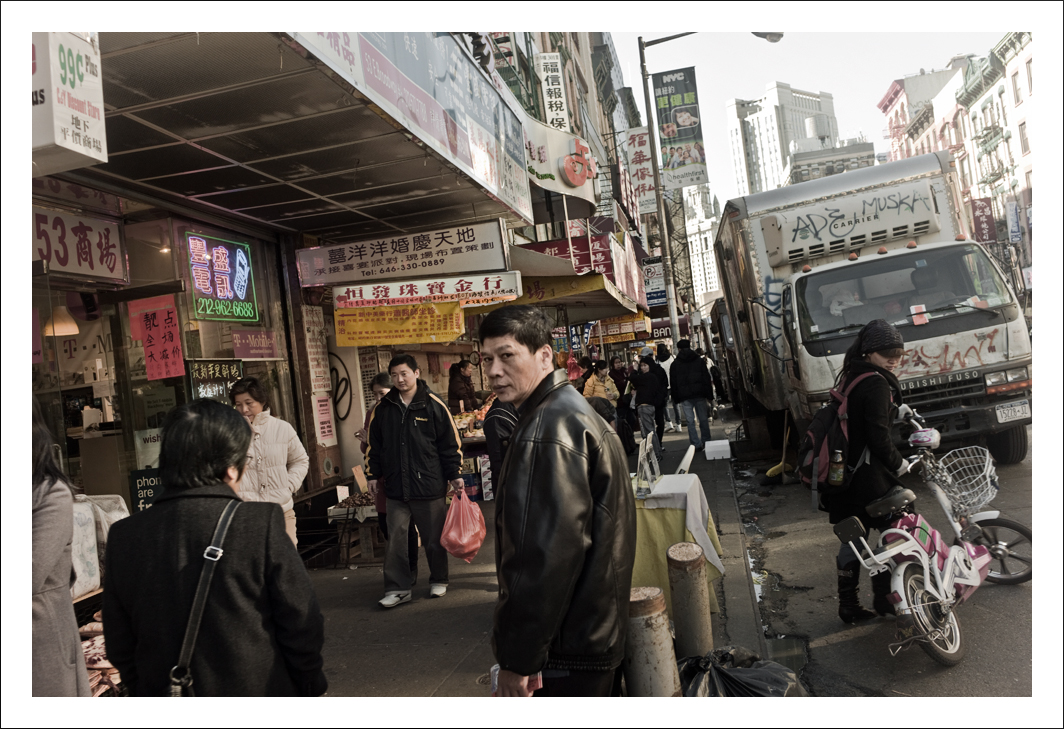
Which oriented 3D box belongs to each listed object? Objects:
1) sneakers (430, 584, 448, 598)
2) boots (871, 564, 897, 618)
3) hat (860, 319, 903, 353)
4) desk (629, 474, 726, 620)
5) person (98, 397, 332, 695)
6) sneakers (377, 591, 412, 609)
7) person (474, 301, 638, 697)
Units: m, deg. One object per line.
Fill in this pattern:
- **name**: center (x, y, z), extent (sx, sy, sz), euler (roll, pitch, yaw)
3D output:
- **sneakers**: center (-1.040, 2.469, 7.886), extent (0.175, 0.113, 0.215), euler (-6, 3, 3)
- **boots**: center (2.809, 1.829, 5.717), extent (0.140, 0.366, 0.157), euler (-4, 4, 29)
- **hat**: center (2.999, -0.240, 6.183), extent (0.250, 0.290, 0.341), euler (-2, 2, -18)
- **desk**: center (1.304, 1.722, 6.803), extent (0.876, 0.865, 0.974), euler (-3, -11, 23)
- **person**: center (-1.678, 0.983, 3.644), extent (1.049, 1.491, 0.372), euler (-7, 3, -17)
- **sneakers**: center (-1.477, 2.517, 7.678), extent (0.133, 0.157, 0.383), euler (-12, -13, 38)
- **person**: center (0.119, 0.725, 3.788), extent (0.662, 1.440, 0.675), euler (-5, 3, 26)
